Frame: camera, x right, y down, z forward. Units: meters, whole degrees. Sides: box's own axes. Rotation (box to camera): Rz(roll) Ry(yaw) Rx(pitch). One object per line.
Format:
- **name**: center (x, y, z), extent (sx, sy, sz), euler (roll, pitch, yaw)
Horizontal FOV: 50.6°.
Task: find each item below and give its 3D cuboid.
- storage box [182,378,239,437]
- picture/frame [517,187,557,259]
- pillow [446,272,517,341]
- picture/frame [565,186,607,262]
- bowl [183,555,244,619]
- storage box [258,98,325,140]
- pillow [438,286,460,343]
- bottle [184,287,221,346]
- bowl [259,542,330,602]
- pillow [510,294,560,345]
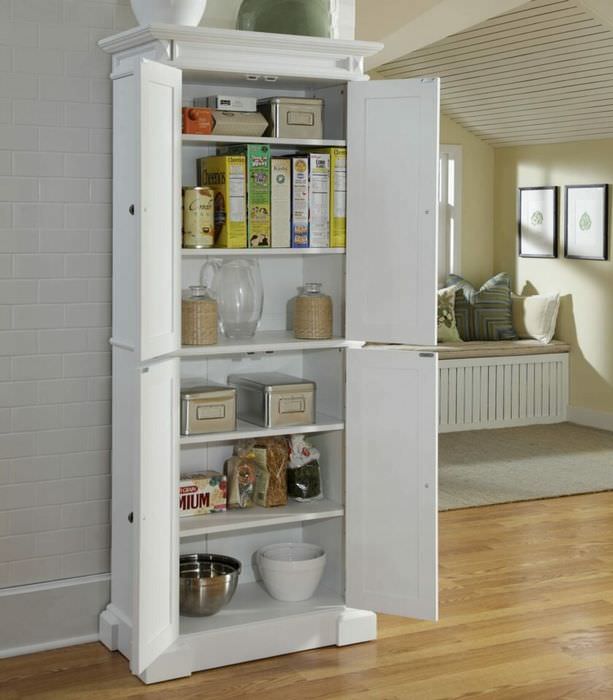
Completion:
- **storage box**: center (-0.287, 0.171, 1.952), extent (0.133, 0.088, 0.184), euler (0, 3, -14)
- **picture/frame**: center (2.042, -1.120, 5.786), extent (0.032, 0.638, 0.409), euler (-5, 6, -34)
- **pillow**: center (1.551, -0.359, 5.785), extent (0.660, 0.617, 0.244), euler (0, -2, 1)
- **picture/frame**: center (2.311, -1.042, 5.393), extent (0.076, 0.624, 0.410), euler (-4, 6, -22)
- **bowl**: center (-0.298, 0.739, 2.039), extent (0.187, 0.164, 0.263), euler (-2, 6, -9)
- **storage box**: center (-0.044, -0.704, 2.008), extent (0.166, 0.098, 0.168), euler (6, 8, 38)
- **pillow**: center (1.234, -0.300, 5.661), extent (0.179, 0.483, 0.361), euler (0, 5, 12)
- **bottle**: center (-0.316, -0.101, 1.955), extent (0.109, 0.170, 0.234), euler (-2, 6, -8)
- **bowl**: center (-0.042, 0.726, 2.170), extent (0.188, 0.113, 0.182), euler (-1, -3, 0)
- **pillow**: center (2.010, -0.306, 5.921), extent (0.235, 0.464, 0.646), euler (-13, 16, -15)
